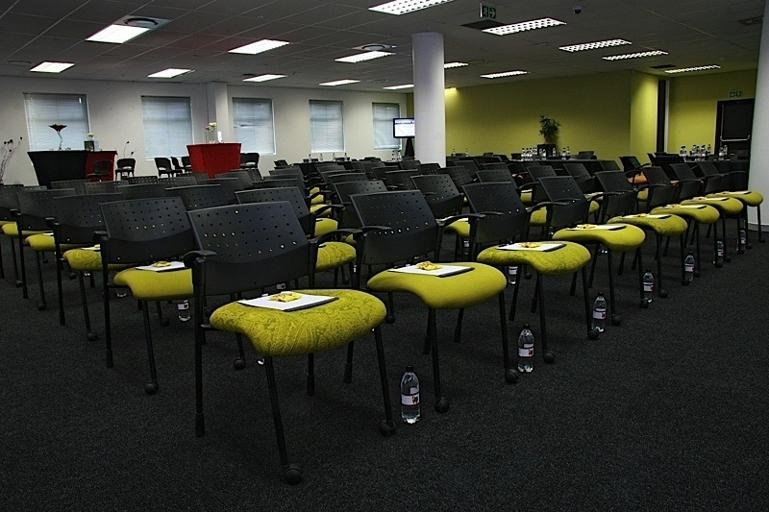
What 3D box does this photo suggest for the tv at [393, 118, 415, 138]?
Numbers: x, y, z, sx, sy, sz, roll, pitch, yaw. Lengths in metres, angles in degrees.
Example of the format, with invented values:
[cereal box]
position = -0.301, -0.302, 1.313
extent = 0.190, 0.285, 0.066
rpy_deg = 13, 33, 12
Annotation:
[tv]
position = 0.779, -5.042, 18.252
extent = 0.906, 0.784, 0.344
rpy_deg = 2, 14, 30
